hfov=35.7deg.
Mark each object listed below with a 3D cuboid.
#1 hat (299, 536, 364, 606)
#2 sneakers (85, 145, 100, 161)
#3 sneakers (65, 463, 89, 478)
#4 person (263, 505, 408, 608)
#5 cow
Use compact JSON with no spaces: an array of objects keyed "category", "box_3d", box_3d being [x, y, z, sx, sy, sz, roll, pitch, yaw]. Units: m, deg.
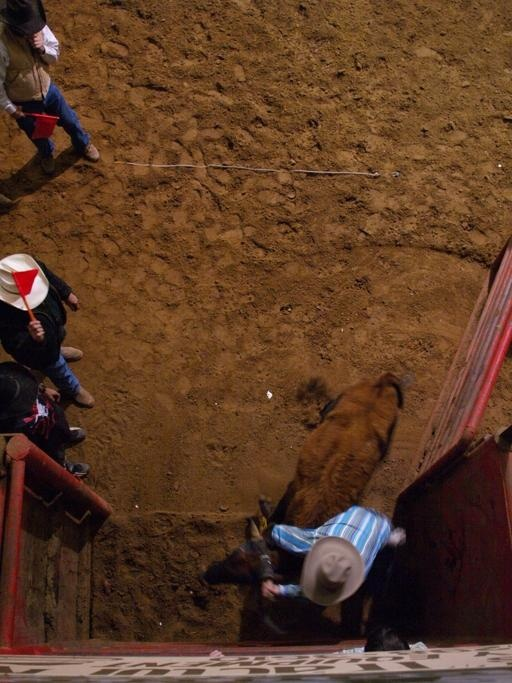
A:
[{"category":"hat","box_3d":[0.531,1.641,5.599,0.420,0.501,0.409,19,52,11]},{"category":"sneakers","box_3d":[-1.607,-1.850,7.825,0.102,0.078,0.180,-37,92,-15]},{"category":"sneakers","box_3d":[-1.538,1.117,6.881,0.140,0.300,0.096,-13,67,20]},{"category":"person","box_3d":[0.617,1.455,5.763,0.677,0.371,0.949,25,55,33]},{"category":"cow","box_3d":[0.602,1.106,6.561,0.436,0.785,1.469,43,94,8]}]
